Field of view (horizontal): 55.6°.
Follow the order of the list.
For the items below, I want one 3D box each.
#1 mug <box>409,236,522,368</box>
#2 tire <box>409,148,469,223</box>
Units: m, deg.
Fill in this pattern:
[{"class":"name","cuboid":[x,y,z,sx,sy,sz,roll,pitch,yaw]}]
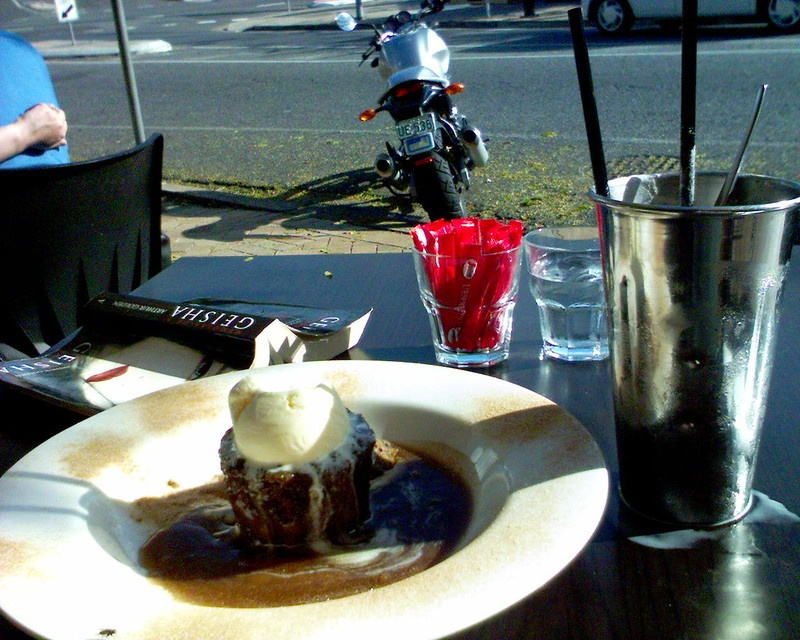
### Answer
[{"class":"mug","cuboid":[0.102,-0.013,1.363,0.215,0.204,0.219,-11,-7,40]},{"class":"tire","cuboid":[0.178,-0.634,3.661,0.199,0.278,0.727,-22,-3,13]}]
